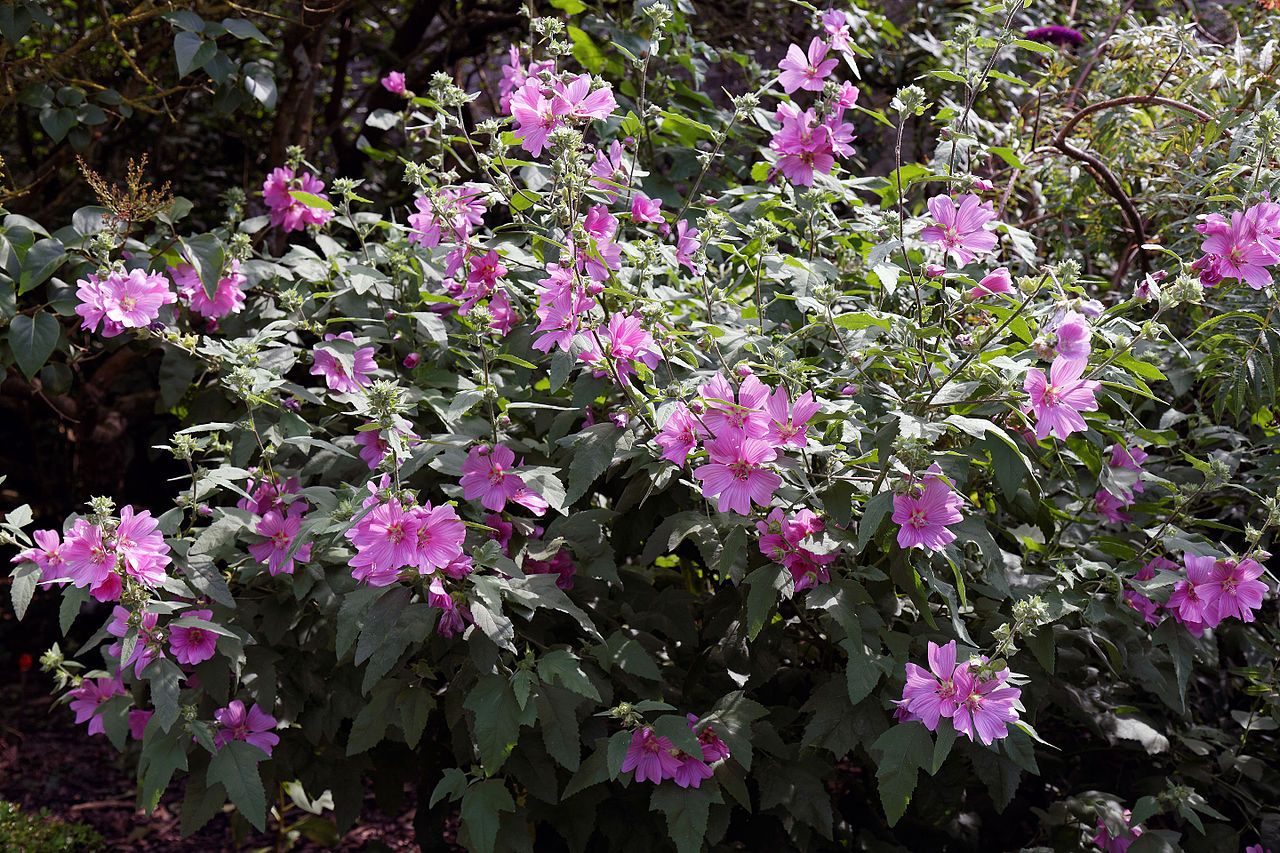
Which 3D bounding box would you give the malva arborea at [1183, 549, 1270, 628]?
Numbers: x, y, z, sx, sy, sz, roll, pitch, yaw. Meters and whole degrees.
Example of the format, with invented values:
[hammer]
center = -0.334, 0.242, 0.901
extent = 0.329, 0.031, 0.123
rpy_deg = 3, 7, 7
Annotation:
[malva arborea]
center = 1.398, 0.393, 2.401
extent = 0.194, 0.202, 0.063
rpy_deg = 18, 6, -4
